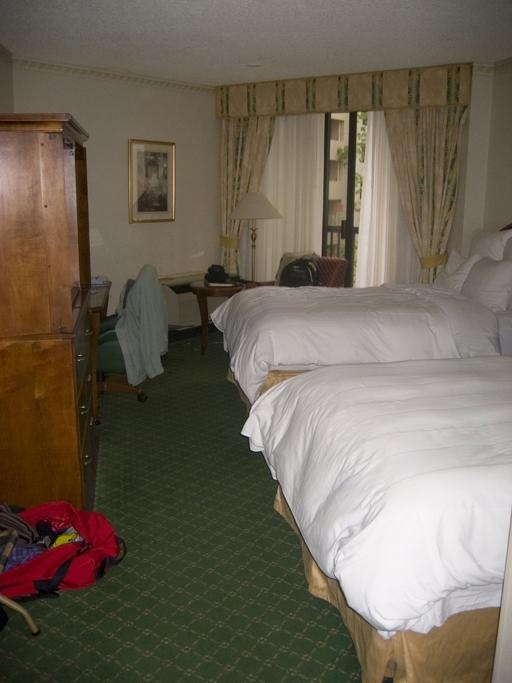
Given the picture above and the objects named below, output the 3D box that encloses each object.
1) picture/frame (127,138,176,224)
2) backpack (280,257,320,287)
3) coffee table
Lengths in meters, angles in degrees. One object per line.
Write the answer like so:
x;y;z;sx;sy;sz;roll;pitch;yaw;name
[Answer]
-1.322;-1.994;5.983;0.087;1.282;0.941;13;16;42;picture/frame
0.512;-0.812;5.815;0.348;0.485;0.174;2;1;31;backpack
-0.517;-0.405;5.866;0.742;0.888;0.750;-8;21;-25;coffee table
